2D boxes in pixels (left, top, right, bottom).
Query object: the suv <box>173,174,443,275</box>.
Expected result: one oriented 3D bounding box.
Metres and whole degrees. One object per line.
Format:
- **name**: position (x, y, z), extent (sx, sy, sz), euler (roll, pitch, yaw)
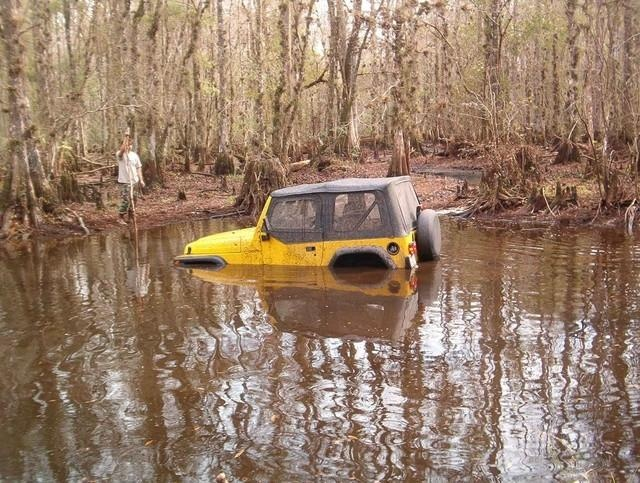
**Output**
- **suv**: position (0.041, -0.334, 10.527), extent (3.245, 1.284, 1.598), euler (3, 6, 14)
